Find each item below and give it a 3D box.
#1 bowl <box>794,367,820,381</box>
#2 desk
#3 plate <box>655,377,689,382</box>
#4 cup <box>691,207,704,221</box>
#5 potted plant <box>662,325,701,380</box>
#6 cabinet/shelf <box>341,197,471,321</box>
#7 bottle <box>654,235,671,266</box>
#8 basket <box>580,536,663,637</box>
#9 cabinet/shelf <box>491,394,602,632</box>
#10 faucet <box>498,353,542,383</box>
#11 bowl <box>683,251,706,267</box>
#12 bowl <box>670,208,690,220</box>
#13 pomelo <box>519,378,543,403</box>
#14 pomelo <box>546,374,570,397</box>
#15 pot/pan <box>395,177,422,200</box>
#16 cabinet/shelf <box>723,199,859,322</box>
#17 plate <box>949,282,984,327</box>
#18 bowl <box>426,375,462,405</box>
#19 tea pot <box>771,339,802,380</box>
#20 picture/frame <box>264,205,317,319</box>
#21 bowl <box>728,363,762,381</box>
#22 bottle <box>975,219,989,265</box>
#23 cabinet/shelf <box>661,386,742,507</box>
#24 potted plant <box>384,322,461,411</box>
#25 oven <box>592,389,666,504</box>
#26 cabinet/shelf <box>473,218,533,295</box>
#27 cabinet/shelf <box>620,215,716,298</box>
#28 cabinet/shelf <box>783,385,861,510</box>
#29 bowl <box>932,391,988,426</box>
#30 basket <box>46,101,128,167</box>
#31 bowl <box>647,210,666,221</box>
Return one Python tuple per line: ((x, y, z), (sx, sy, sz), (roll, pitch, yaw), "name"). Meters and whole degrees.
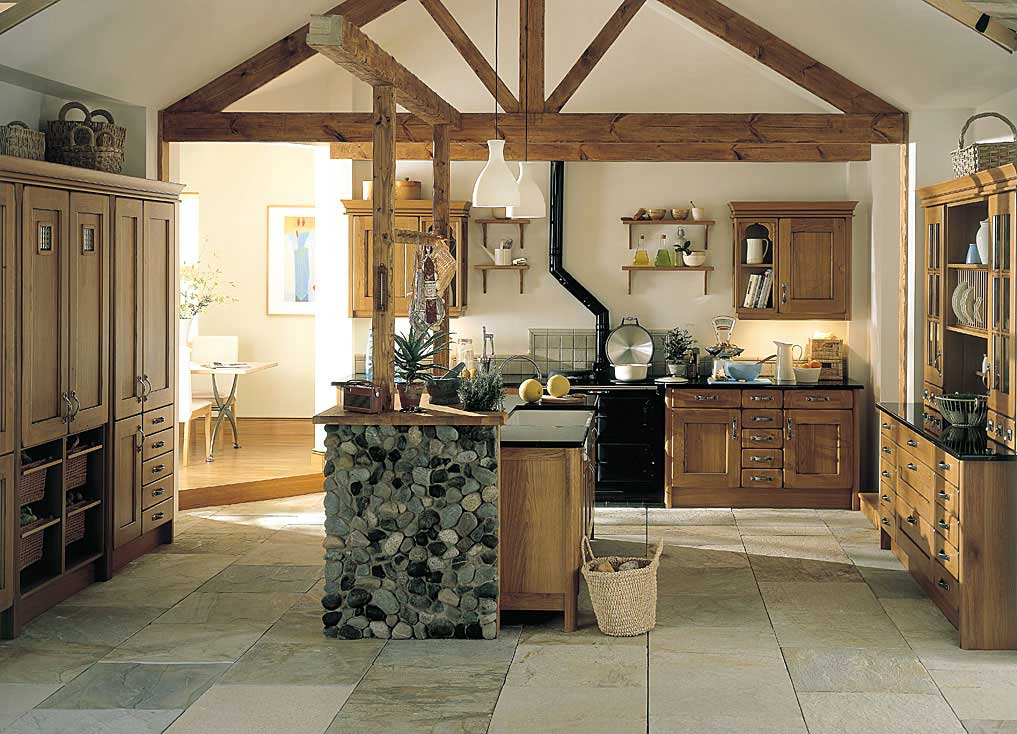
((2.828, 0.061, 7.773), (0.203, 0.136, 0.399), (4, 8, 25), "bowl")
((-3.217, 0.331, 9.456), (0.972, 0.857, 1.726), (1, 2, 2), "desk")
((1.545, 0.117, 7.807), (0.299, 0.030, 0.333), (2, 8, 11), "plate")
((1.863, -1.534, 8.087), (0.124, 0.094, 0.125), (2, 6, 0), "cup")
((1.682, -0.084, 8.144), (0.344, 0.458, 0.304), (9, -16, -32), "potted plant")
((-1.020, -1.088, 8.143), (1.262, 1.178, 0.437), (0, 8, -3), "cabinet/shelf")
((1.546, -1.181, 8.182), (0.153, 0.338, 0.200), (2, 8, 12), "bottle")
((0.673, 1.340, 4.977), (0.448, 0.452, 0.471), (1, 8, 9), "basket")
((0.207, 0.920, 4.978), (0.497, 0.771, 1.460), (-1, 3, 1), "cabinet/shelf")
((0.089, -0.005, 8.283), (0.524, 0.344, 0.269), (0, -1, 2), "faucet")
((1.857, -1.085, 8.144), (0.252, 0.138, 0.137), (0, 8, -4), "bowl")
((1.701, -1.539, 8.150), (0.205, 0.114, 0.165), (1, 8, 8), "bowl")
((0.158, 0.162, 6.190), (0.178, 0.164, 0.171), (-3, -17, 14), "pomelo")
((0.385, 0.132, 6.402), (0.177, 0.188, 0.171), (4, -5, 14), "pomelo")
((-1.003, -1.795, 8.244), (0.259, 0.180, 0.245), (0, 4, -6), "pot/pan")
((2.767, -1.051, 7.900), (1.321, 1.120, 0.456), (0, -1, 3), "cabinet/shelf")
((3.030, -0.430, 5.431), (0.104, 0.243, 0.199), (-6, 8, -29), "plate")
((-0.400, 0.139, 5.065), (0.189, 0.131, 0.181), (0, 3, 0), "bowl")
((2.673, -0.071, 7.897), (0.267, 0.366, 0.783), (3, 8, 19), "tea pot")
((-2.759, -1.420, 10.892), (0.747, 1.430, 0.117), (-1, 0, 2), "picture/frame")
((2.234, 0.034, 7.804), (0.224, 0.104, 0.210), (0, -2, 0), "bowl")
((2.997, -0.800, 5.187), (0.069, 0.278, 0.452), (4, 9, 29), "bottle")
((2.099, 0.784, 7.902), (0.896, 1.105, 0.864), (-4, -11, 34), "cabinet/shelf")
((-0.501, 0.016, 5.061), (0.511, 0.475, 0.350), (-2, 6, -18), "potted plant")
((1.050, 0.728, 8.045), (0.910, 1.016, 0.787), (2, -2, -27), "oven")
((-0.041, -1.181, 8.335), (0.804, 1.026, 0.456), (0, 7, 2), "cabinet/shelf")
((1.628, -1.162, 8.232), (0.913, 0.707, 0.281), (0, 4, 6), "cabinet/shelf")
((2.953, 0.752, 7.818), (0.764, 1.139, 0.706), (-2, -16, 25), "cabinet/shelf")
((2.808, 0.252, 5.070), (0.234, 0.121, 0.221), (0, 2, 0), "bowl")
((-3.013, -1.658, 5.907), (0.532, 0.464, 0.372), (6, 10, 4), "basket")
((1.472, -1.514, 8.126), (0.126, 0.073, 0.120), (-1, 2, 0), "bowl")
